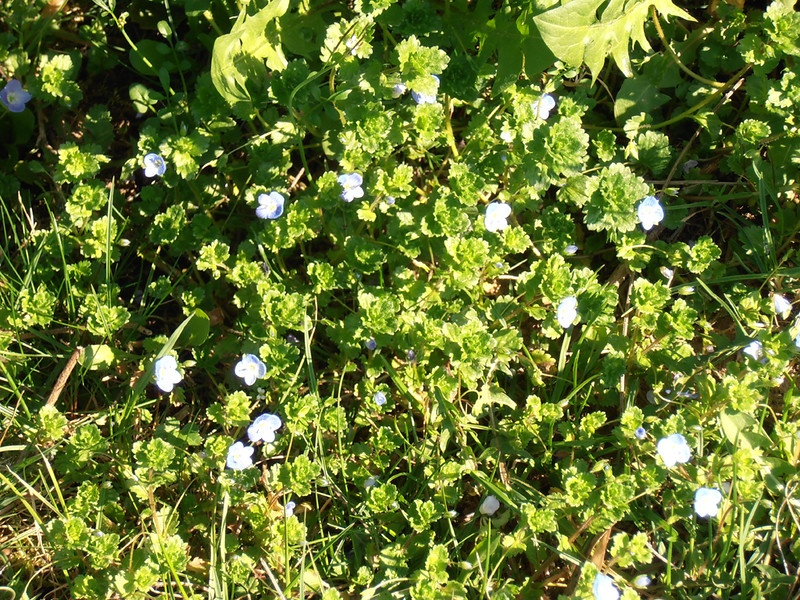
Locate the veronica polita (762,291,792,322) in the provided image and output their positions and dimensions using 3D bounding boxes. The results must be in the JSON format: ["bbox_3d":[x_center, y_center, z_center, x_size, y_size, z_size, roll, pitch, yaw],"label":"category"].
[{"bbox_3d":[1.833,0.025,3.641,0.056,0.110,0.066,-45,52,0],"label":"veronica polita"}]

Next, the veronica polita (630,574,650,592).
[{"bbox_3d":[1.048,1.228,3.262,0.065,0.027,0.068,-5,104,-12],"label":"veronica polita"}]

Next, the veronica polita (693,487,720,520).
[{"bbox_3d":[1.282,0.839,3.135,0.108,0.031,0.145,-4,100,-30],"label":"veronica polita"}]

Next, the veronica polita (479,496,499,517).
[{"bbox_3d":[0.402,0.895,3.341,0.074,0.040,0.090,36,111,-10],"label":"veronica polita"}]

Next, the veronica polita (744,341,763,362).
[{"bbox_3d":[1.601,0.221,3.400,0.071,0.080,0.082,11,56,23],"label":"veronica polita"}]

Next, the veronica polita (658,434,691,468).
[{"bbox_3d":[1.170,0.637,3.146,0.120,0.048,0.149,7,77,-6],"label":"veronica polita"}]
